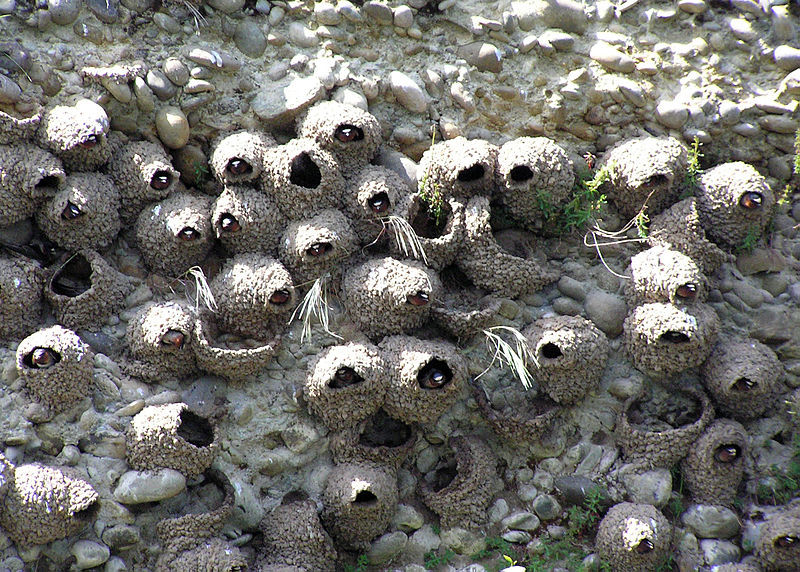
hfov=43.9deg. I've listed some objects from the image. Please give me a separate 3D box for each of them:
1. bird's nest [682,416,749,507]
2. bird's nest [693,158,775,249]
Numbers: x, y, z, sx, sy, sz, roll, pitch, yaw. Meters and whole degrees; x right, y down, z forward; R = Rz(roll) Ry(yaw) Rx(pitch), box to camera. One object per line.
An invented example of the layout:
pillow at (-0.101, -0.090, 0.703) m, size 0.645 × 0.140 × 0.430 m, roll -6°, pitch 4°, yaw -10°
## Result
bird's nest at (2.097, 1.194, 6.804) m, size 0.400 × 0.238 × 0.560 m, roll 20°, pitch 93°, yaw -18°
bird's nest at (2.305, -0.590, 7.007) m, size 0.543 × 0.357 × 0.581 m, roll 7°, pitch 99°, yaw -11°
